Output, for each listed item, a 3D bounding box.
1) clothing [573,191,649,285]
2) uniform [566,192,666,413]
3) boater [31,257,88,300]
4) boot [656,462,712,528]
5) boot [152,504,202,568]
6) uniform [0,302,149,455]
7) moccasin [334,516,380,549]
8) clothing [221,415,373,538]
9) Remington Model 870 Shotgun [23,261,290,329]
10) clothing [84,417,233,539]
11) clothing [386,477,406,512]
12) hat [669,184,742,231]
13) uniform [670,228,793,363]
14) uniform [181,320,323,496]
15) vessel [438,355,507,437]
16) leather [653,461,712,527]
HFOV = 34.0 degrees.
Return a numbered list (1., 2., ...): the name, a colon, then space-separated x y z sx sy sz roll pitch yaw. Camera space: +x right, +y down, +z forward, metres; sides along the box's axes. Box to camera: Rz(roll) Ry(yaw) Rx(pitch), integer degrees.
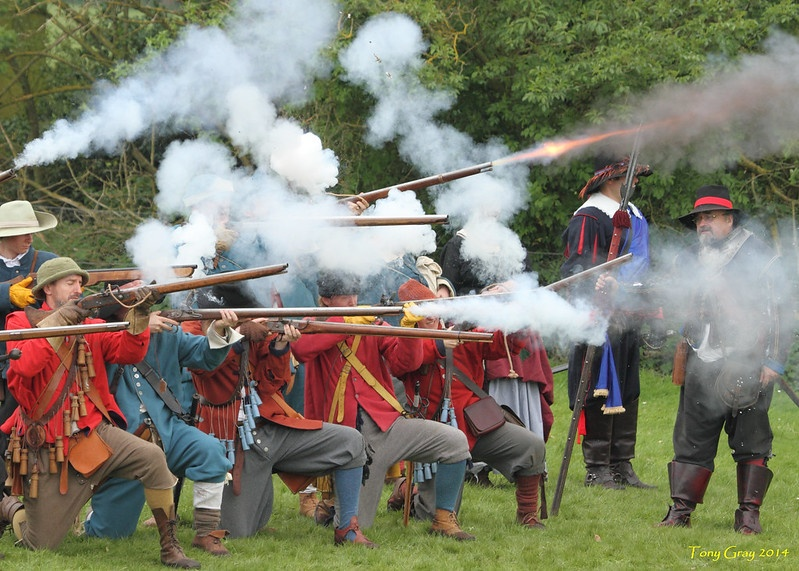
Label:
1. clothing: 2.235 -0.463 13.774 0.870 1.105 0.664 8 -14 -18
2. uniform: 2.314 0.197 14.273 0.638 2.451 1.252 7 11 43
3. boater: -3.107 -0.124 11.778 0.389 0.198 0.407 -11 0 -22
4. boot: 2.826 2.095 12.945 0.442 0.615 0.612 22 -16 -27
5. boot: -1.995 2.237 11.668 0.500 0.516 0.236 1 -10 30
6. uniform: -2.844 0.837 11.918 1.280 1.305 1.249 9 -19 -42
7. moccasin: -0.458 2.308 12.235 0.527 0.230 0.173 -1 -3 24
8. clothing: -1.160 1.829 12.698 1.526 1.031 1.141 0 -5 -11
9. Remington Model 870 Shotgun: -2.212 0.092 11.764 2.356 0.392 0.318 -9 -1 3
10. clothing: -2.107 1.581 12.363 1.125 0.417 1.567 14 -4 17
11. clothing: -0.021 2.116 13.206 0.128 0.356 0.155 27 -34 -14
12. hat: 3.204 -0.852 13.072 0.532 0.261 0.533 14 9 36
13. uniform: 3.270 0.134 12.801 1.307 1.309 0.736 5 7 -2
14. uniform: -1.436 1.127 12.224 1.395 1.416 0.874 -9 -14 -33
15. vessel: 0.787 1.240 13.309 0.692 0.407 1.144 20 -3 20
16. leather: 2.837 2.068 12.968 0.476 0.646 0.610 12 -4 -27
